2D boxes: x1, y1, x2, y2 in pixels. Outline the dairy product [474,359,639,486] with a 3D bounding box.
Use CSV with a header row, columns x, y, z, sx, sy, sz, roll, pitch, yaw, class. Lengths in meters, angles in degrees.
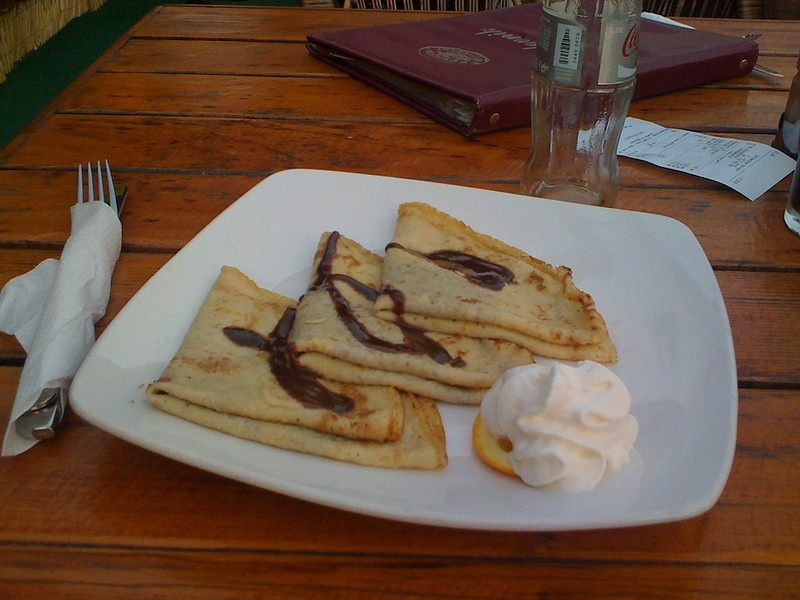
x,y,z,sx,sy,sz,roll,pitch,yaw,class
0.223,0.188,0.992,0.225,0.069,0.189,4,56,7,dairy product
